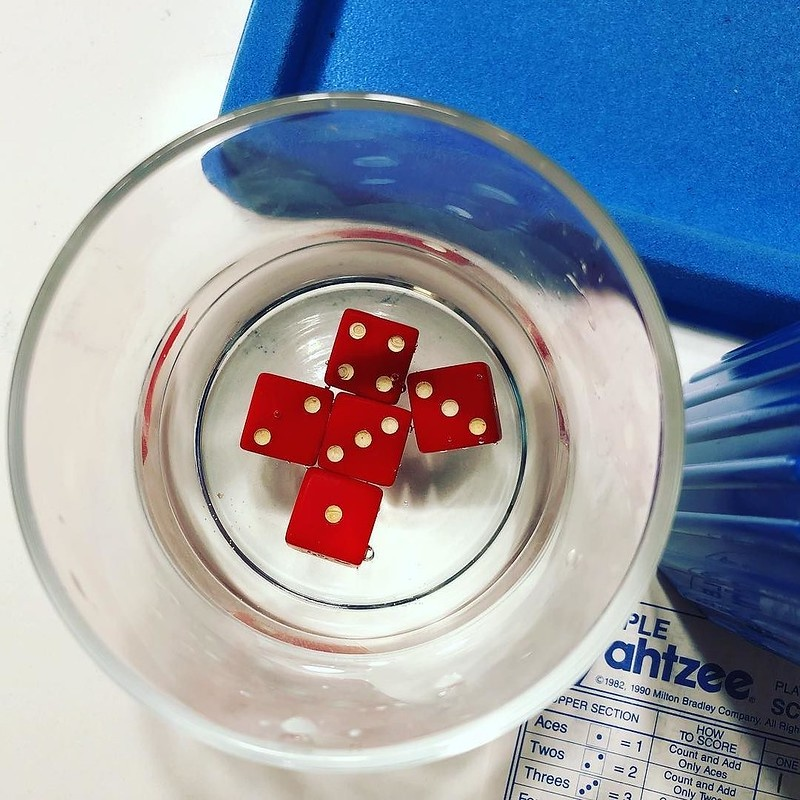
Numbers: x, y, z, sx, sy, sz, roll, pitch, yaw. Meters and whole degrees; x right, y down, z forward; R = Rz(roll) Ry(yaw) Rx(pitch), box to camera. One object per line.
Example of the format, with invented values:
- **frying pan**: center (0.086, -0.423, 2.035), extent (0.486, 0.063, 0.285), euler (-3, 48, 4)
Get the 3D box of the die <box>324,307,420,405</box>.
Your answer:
- **die**: center (-0.038, -0.067, 1.330), extent (0.143, 0.137, 0.125), euler (21, 101, 3)
